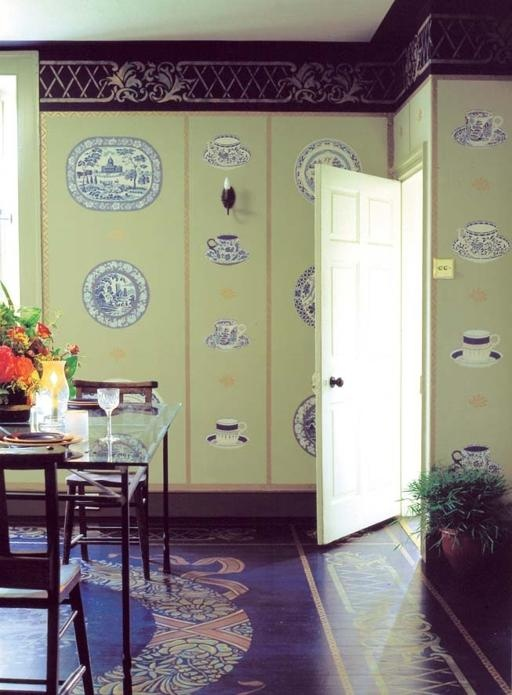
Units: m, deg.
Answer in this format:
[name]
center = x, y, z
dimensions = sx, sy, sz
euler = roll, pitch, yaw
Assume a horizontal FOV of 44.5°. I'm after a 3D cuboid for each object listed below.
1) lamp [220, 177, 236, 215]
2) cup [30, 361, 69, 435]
[lamp]
center = -0.165, -0.925, 3.820
dimensions = 0.088, 0.215, 0.094
euler = 1, 2, -4
[cup]
center = -0.800, 0.183, 2.432
dimensions = 0.146, 0.267, 0.144
euler = 2, -2, 0
